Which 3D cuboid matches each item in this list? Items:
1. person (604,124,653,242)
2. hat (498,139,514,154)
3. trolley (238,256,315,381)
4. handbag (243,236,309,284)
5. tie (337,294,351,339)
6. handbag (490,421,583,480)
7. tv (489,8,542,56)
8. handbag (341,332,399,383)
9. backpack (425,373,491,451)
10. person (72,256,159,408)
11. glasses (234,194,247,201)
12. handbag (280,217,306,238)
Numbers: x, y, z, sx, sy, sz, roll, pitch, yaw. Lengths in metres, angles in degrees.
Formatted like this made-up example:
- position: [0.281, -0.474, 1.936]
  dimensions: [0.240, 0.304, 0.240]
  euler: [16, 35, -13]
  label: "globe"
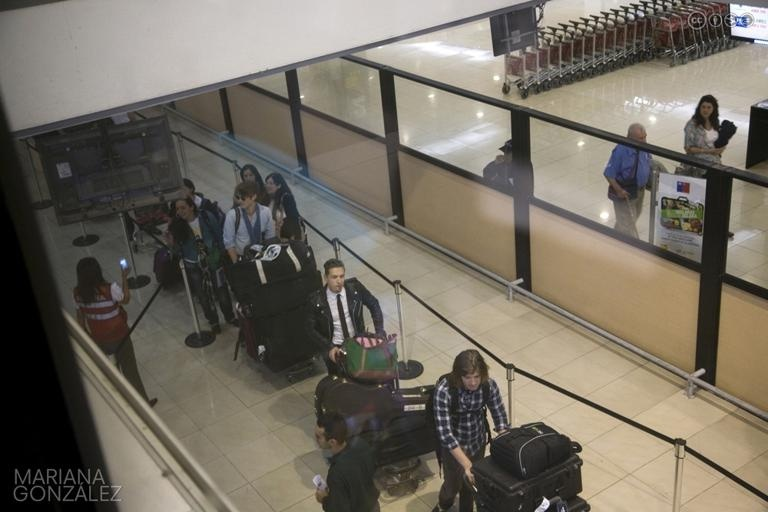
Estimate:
- position: [2.674, -0.737, 6.907]
  dimensions: [0.513, 1.001, 0.330]
  euler: [7, 29, 24]
  label: "person"
- position: [1.547, -1.398, 7.927]
  dimensions: [0.103, 0.177, 0.216]
  euler: [-7, 25, -4]
  label: "hat"
- position: [-1.145, 0.725, 7.098]
  dimensions: [0.924, 1.285, 0.580]
  euler: [-11, 26, -11]
  label: "trolley"
- position: [-1.172, 0.027, 7.157]
  dimensions: [0.684, 0.264, 0.512]
  euler: [-24, 34, -33]
  label: "handbag"
- position: [-0.418, 0.640, 6.455]
  dimensions: [0.088, 0.532, 0.056]
  euler: [-11, 1, -5]
  label: "tie"
- position: [1.208, 1.479, 4.893]
  dimensions: [0.736, 0.243, 0.416]
  euler: [-10, 12, -29]
  label: "handbag"
- position: [1.643, -2.829, 7.904]
  dimensions: [0.538, 0.575, 0.930]
  euler: [0, 26, 10]
  label: "tv"
- position: [-0.113, 0.976, 5.980]
  dimensions: [0.513, 0.473, 0.265]
  euler: [2, -11, -20]
  label: "handbag"
- position: [0.635, 1.318, 5.224]
  dimensions: [0.587, 0.774, 0.421]
  euler: [-9, 37, -8]
  label: "backpack"
- position: [-2.972, 0.820, 6.883]
  dimensions: [0.610, 1.824, 1.310]
  euler: [-17, 28, -23]
  label: "person"
- position: [-1.740, -0.698, 7.491]
  dimensions: [0.086, 0.090, 0.029]
  euler: [9, 66, 20]
  label: "glasses"
- position: [-1.197, -0.355, 8.188]
  dimensions: [0.217, 0.335, 0.344]
  euler: [0, 0, -11]
  label: "handbag"
